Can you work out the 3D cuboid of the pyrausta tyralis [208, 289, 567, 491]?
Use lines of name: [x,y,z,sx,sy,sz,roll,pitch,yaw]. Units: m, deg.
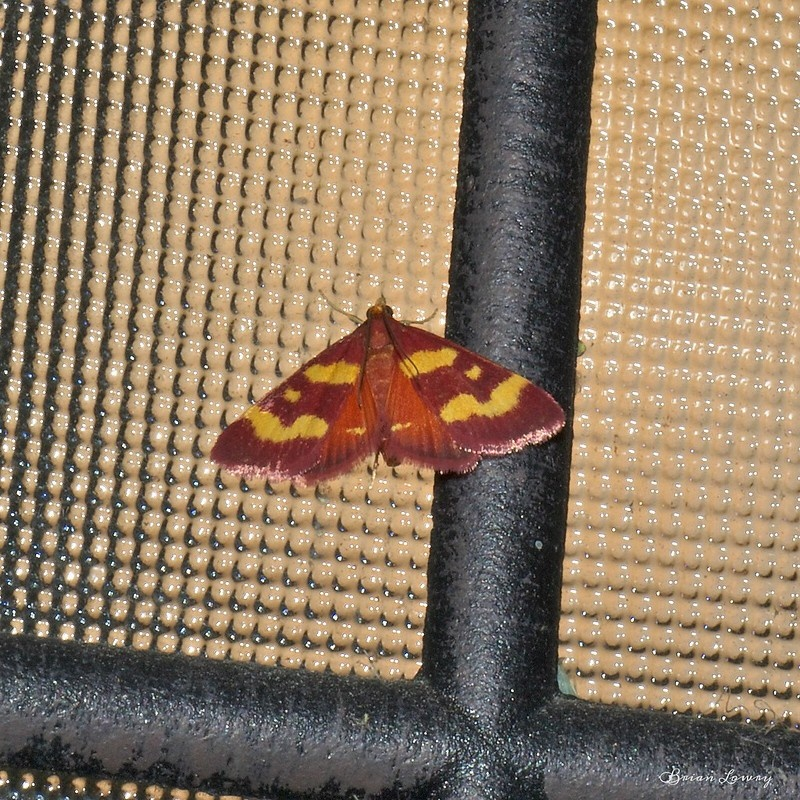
pyrausta tyralis: [-0.024,-0.010,1.707,0.333,0.091,0.228,-10,-71,3]
